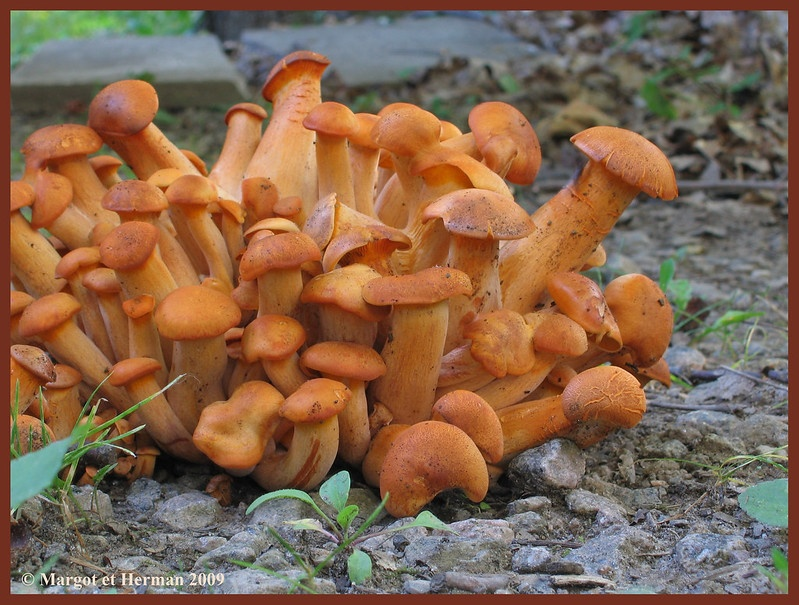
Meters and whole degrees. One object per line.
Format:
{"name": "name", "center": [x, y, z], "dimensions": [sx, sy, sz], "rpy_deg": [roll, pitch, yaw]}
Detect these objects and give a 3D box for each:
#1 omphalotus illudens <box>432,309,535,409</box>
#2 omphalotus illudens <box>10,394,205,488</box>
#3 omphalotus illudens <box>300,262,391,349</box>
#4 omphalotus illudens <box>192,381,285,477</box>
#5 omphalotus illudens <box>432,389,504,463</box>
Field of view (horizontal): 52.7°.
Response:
{"name": "omphalotus illudens", "center": [0.412, 0.274, 3.937], "dimensions": [0.240, 0.231, 0.564], "rpy_deg": [-33, 0, -19]}
{"name": "omphalotus illudens", "center": [-1.416, 0.626, 3.766], "dimensions": [0.568, 0.535, 0.205], "rpy_deg": [-27, -17, -33]}
{"name": "omphalotus illudens", "center": [-0.265, 0.047, 3.953], "dimensions": [0.543, 0.476, 0.478], "rpy_deg": [-2, 3, -23]}
{"name": "omphalotus illudens", "center": [-0.738, 0.576, 3.774], "dimensions": [0.431, 0.250, 0.301], "rpy_deg": [-28, 42, -32]}
{"name": "omphalotus illudens", "center": [0.362, 0.575, 3.920], "dimensions": [0.276, 0.356, 0.202], "rpy_deg": [-35, 13, 40]}
